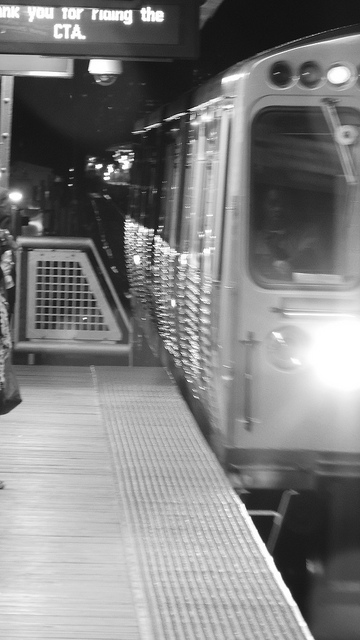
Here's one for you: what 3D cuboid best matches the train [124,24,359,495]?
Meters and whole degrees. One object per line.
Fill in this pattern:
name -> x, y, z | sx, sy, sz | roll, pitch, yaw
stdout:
train -> 0.358, -0.703, 4.639 | 0.808, 4.296, 3.531 | 2, -5, -15
